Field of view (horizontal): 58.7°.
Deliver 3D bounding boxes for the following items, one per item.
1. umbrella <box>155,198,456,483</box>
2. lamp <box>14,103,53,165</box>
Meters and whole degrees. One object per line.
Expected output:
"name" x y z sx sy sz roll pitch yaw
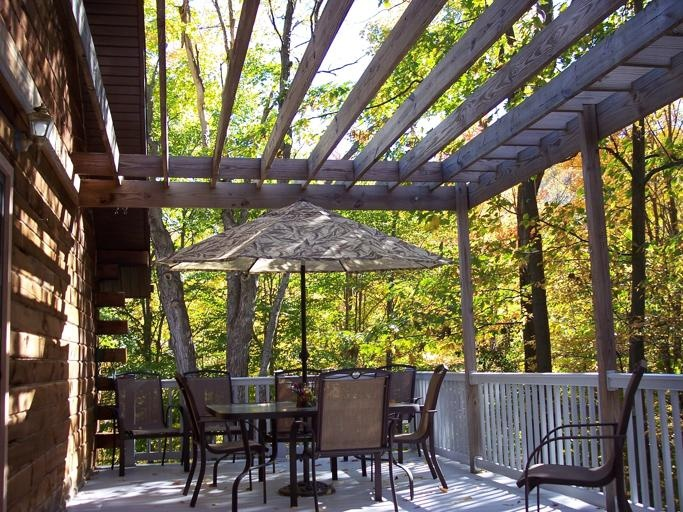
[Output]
"umbrella" -0.395 0.591 5.695 2.174 1.397 2.021 1 -9 -11
"lamp" -1.996 -0.850 3.992 0.235 0.330 0.144 -2 0 -5
